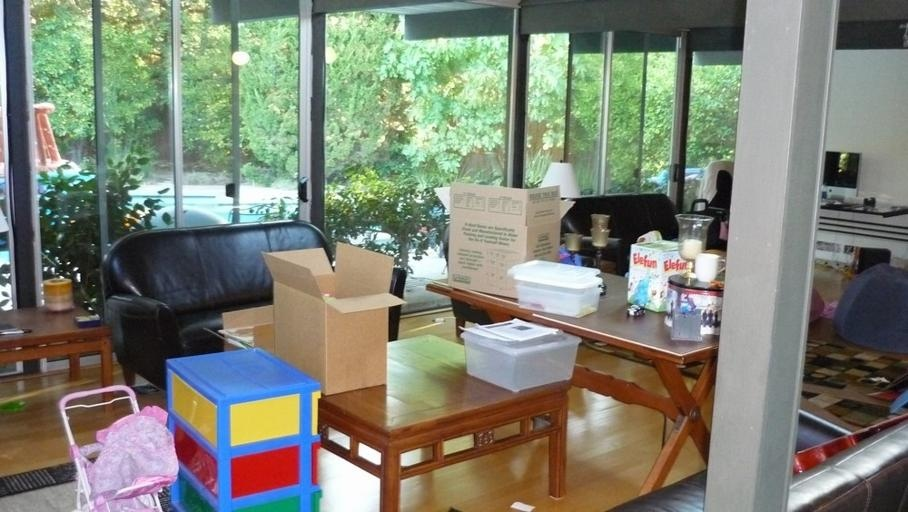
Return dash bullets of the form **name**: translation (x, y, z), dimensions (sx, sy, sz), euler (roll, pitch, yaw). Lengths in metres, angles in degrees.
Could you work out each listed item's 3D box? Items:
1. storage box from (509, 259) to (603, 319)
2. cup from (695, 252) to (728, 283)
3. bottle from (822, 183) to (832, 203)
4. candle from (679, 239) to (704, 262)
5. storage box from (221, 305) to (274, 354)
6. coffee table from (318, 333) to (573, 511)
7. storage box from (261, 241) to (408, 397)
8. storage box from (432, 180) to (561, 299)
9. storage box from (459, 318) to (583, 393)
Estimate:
- **storage box**: translation (0.608, 0.191, 3.775), dimensions (0.504, 0.206, 0.370), euler (10, 18, 37)
- **cup**: translation (1.361, 0.063, 3.425), dimensions (0.118, 0.149, 0.119), euler (-2, 11, 0)
- **bottle**: translation (3.442, -0.571, 5.837), dimensions (0.088, 0.162, 0.184), euler (3, 12, 26)
- **candle**: translation (1.330, -0.027, 3.562), dimensions (0.133, 0.082, 0.122), euler (0, 5, 0)
- **storage box**: translation (-1.245, 0.439, 3.844), dimensions (0.338, 0.186, 0.318), euler (-7, 11, -40)
- **coffee table**: translation (-0.096, 0.854, 3.382), dimensions (1.158, 0.619, 1.157), euler (-5, 8, -35)
- **storage box**: translation (-0.676, 0.318, 3.482), dimensions (0.519, 0.587, 0.853), euler (-9, 18, -40)
- **storage box**: translation (0.289, -0.162, 4.214), dimensions (0.753, 0.739, 0.760), euler (10, 13, 33)
- **storage box**: translation (0.390, 0.533, 3.655), dimensions (0.523, 0.253, 0.403), euler (-6, 13, -37)
